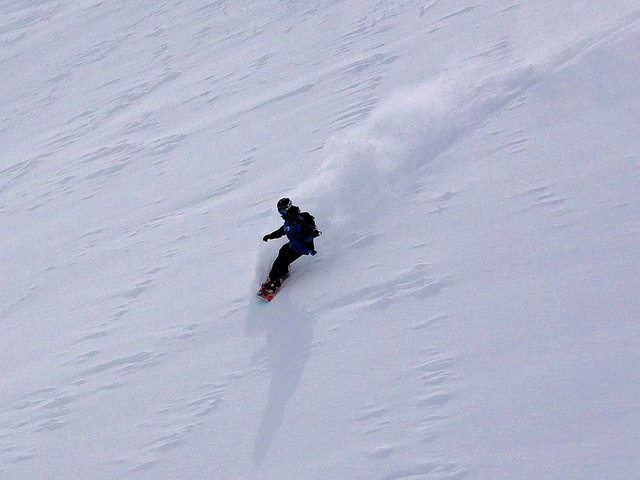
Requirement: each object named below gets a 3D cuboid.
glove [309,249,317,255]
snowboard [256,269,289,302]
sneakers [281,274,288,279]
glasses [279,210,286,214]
[{"bbox_3d":[-0.144,0.332,39.903,0.149,0.292,0.150,-158,59,-63],"label":"glove"},{"bbox_3d":[-1.385,1.363,40.547,1.050,0.652,0.338,-52,-1,4],"label":"snowboard"},{"bbox_3d":[-1.031,1.086,40.730,0.158,0.162,0.142,8,98,53],"label":"sneakers"},{"bbox_3d":[-1.069,-0.871,39.784,0.177,0.112,0.083,5,91,16],"label":"glasses"}]
